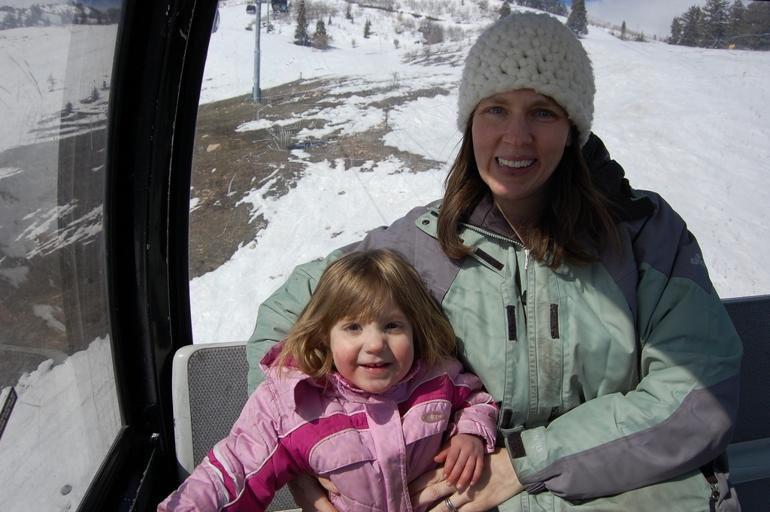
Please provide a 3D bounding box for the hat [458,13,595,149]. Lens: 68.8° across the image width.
[{"bbox_3d":[0.686,-0.749,2.817,0.507,0.532,0.606,11,-20,12],"label":"hat"}]
